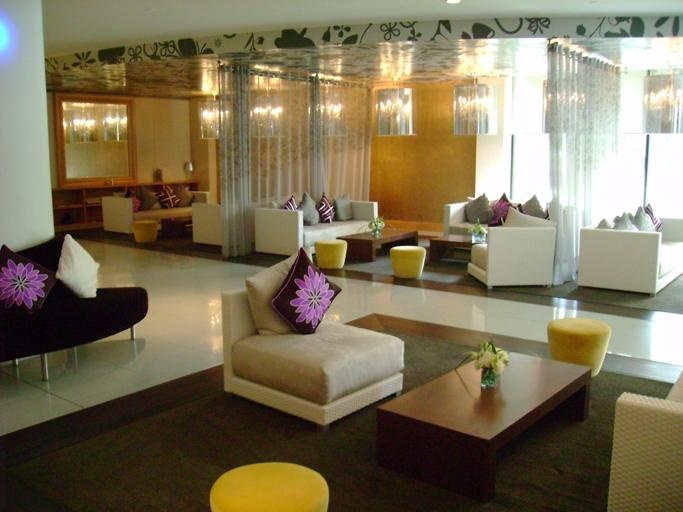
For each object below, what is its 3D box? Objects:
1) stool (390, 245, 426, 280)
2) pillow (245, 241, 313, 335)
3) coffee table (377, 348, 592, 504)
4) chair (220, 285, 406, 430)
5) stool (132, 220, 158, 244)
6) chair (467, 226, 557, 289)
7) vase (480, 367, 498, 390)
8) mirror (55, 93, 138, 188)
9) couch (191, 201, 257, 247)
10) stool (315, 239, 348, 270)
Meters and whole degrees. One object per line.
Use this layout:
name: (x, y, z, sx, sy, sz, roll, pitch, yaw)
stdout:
stool: (1.069, 0.082, 8.313, 0.481, 0.464, 0.507, 0, 4, 29)
pillow: (-0.617, 0.313, 4.316, 0.181, 0.620, 0.624, -8, 21, 34)
coffee table: (0.990, 1.126, 3.632, 1.519, 0.388, 0.782, -11, 16, -38)
chair: (-0.271, 0.556, 4.247, 1.063, 0.877, 1.094, 5, 10, 37)
stool: (-4.233, -0.524, 11.307, 0.436, 0.373, 0.479, 0, 1, -5)
chair: (2.593, -0.061, 7.766, 0.859, 0.763, 0.939, 1, 5, -1)
vase: (1.053, 0.869, 3.701, 0.112, 0.124, 0.217, 11, 4, 15)
mirror: (-6.434, -3.021, 13.397, 0.170, 2.727, 2.258, 4, 8, 44)
couch: (-2.460, -0.666, 11.027, 0.994, 1.171, 1.033, 10, 14, 38)
stool: (-0.178, -0.048, 8.808, 0.457, 0.438, 0.474, -3, 9, -20)
